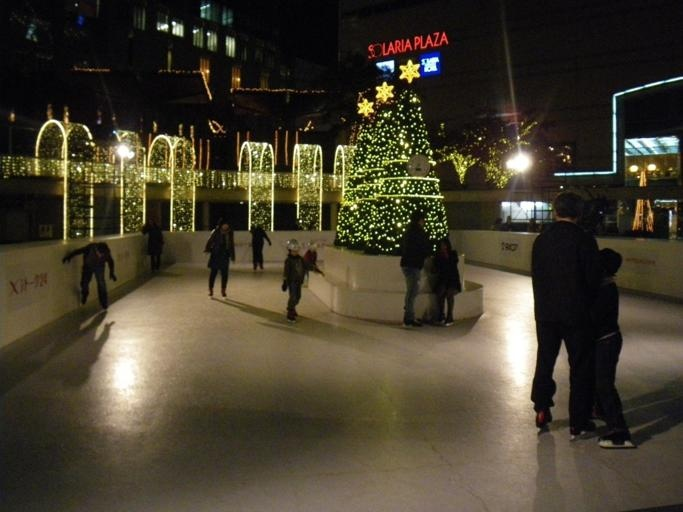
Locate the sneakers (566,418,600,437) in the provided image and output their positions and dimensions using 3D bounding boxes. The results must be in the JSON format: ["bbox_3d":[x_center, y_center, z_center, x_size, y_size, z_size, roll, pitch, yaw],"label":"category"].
[{"bbox_3d":[2.569,1.828,5.766,0.273,0.104,0.180,-18,-19,33],"label":"sneakers"}]

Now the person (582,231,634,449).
[{"bbox_3d":[2.860,0.933,5.659,0.402,2.001,0.571,2,3,30],"label":"person"}]

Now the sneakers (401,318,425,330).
[{"bbox_3d":[1.508,1.414,11.397,0.355,0.174,0.175,-1,0,-7],"label":"sneakers"}]

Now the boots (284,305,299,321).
[{"bbox_3d":[-1.117,1.228,11.848,0.353,0.388,0.193,-2,4,-21],"label":"boots"}]

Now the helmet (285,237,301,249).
[{"bbox_3d":[-1.067,-0.251,11.878,0.213,0.209,0.489,1,4,2],"label":"helmet"}]

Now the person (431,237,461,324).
[{"bbox_3d":[2.309,0.555,11.888,0.589,1.801,0.770,1,3,10],"label":"person"}]

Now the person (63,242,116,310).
[{"bbox_3d":[-5.854,0.467,12.574,0.964,1.608,1.253,-1,4,-24],"label":"person"}]

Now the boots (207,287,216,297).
[{"bbox_3d":[-3.702,1.004,15.217,0.137,0.311,0.303,0,8,-7],"label":"boots"}]

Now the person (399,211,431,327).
[{"bbox_3d":[1.493,0.285,11.130,0.554,2.387,0.518,1,3,6],"label":"person"}]
